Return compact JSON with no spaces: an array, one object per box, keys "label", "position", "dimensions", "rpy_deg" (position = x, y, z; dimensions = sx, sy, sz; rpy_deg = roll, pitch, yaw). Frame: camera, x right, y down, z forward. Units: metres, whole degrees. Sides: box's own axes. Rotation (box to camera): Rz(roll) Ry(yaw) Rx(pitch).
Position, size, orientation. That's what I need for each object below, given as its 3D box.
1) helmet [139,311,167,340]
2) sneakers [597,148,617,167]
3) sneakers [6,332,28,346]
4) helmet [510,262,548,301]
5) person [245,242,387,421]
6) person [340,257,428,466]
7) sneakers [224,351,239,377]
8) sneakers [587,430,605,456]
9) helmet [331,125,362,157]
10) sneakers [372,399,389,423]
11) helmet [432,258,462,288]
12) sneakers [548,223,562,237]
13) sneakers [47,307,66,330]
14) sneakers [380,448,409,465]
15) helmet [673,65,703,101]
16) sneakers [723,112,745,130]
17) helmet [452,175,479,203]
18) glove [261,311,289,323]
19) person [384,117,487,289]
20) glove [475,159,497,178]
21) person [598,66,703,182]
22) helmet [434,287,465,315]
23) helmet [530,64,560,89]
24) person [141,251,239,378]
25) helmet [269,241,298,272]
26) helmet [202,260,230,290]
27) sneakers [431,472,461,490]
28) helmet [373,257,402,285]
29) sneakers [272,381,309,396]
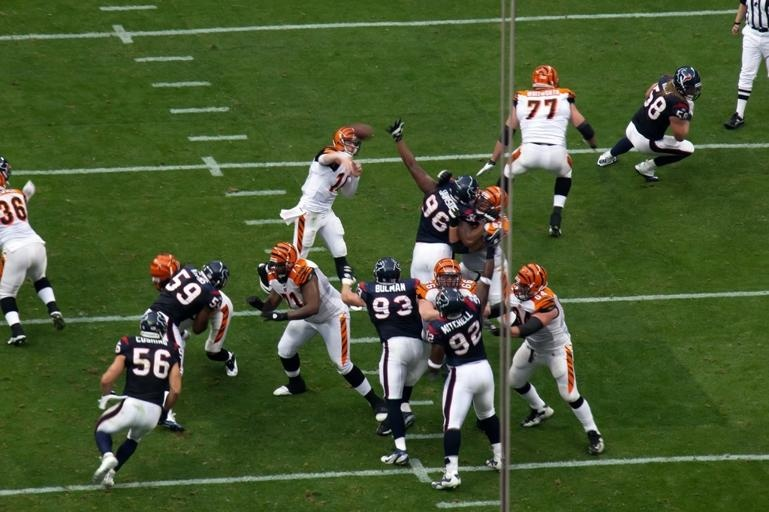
[{"label":"helmet","position":[-2.477,0.722,14.033],"dimensions":[0.275,0.249,0.308],"rpy_deg":[20,17,13]},{"label":"sneakers","position":[3.178,-1.399,18.669],"dimensions":[0.149,0.156,0.375],"rpy_deg":[32,22,30]},{"label":"sneakers","position":[-4.406,1.000,15.573],"dimensions":[0.109,0.115,0.275],"rpy_deg":[-5,5,-30]},{"label":"helmet","position":[1.604,0.247,14.386],"dimensions":[0.443,0.300,0.289],"rpy_deg":[-14,24,-16]},{"label":"person","position":[-0.814,0.974,15.240],"dimensions":[1.266,1.741,1.439],"rpy_deg":[-24,36,-26]},{"label":"person","position":[0.171,1.112,14.483],"dimensions":[0.881,1.952,1.328],"rpy_deg":[-10,28,0]},{"label":"sneakers","position":[-1.809,1.273,15.413],"dimensions":[0.138,0.299,0.145],"rpy_deg":[1,13,11]},{"label":"sneakers","position":[2.340,2.089,14.448],"dimensions":[0.180,0.122,0.363],"rpy_deg":[28,25,-14]},{"label":"helmet","position":[-0.452,-1.479,16.319],"dimensions":[0.450,0.339,0.315],"rpy_deg":[4,25,1]},{"label":"sneakers","position":[-0.050,1.750,14.812],"dimensions":[0.139,0.127,0.312],"rpy_deg":[-6,49,-6]},{"label":"helmet","position":[0.694,0.199,14.444],"dimensions":[0.287,0.251,0.345],"rpy_deg":[0,-4,-3]},{"label":"sneakers","position":[2.284,-0.347,17.390],"dimensions":[0.152,0.168,0.184],"rpy_deg":[8,-20,11]},{"label":"sneakers","position":[-3.950,0.757,15.706],"dimensions":[0.266,0.205,0.100],"rpy_deg":[41,39,-11]},{"label":"sneakers","position":[0.129,2.228,14.272],"dimensions":[0.383,0.173,0.129],"rpy_deg":[3,32,23]},{"label":"helmet","position":[4.106,-2.322,17.613],"dimensions":[0.349,0.498,0.323],"rpy_deg":[-4,28,10]},{"label":"sneakers","position":[5.183,-2.004,19.211],"dimensions":[0.162,0.174,0.409],"rpy_deg":[15,22,39]},{"label":"helmet","position":[0.961,-0.782,15.532],"dimensions":[0.384,0.259,0.316],"rpy_deg":[-14,-15,-9]},{"label":"glove","position":[-1.258,0.691,14.798],"dimensions":[0.120,0.096,0.406],"rpy_deg":[4,-1,-35]},{"label":"person","position":[0.642,-0.630,16.695],"dimensions":[1.380,2.514,0.944],"rpy_deg":[32,62,11]},{"label":"glove","position":[1.423,-1.238,18.193],"dimensions":[0.267,0.086,0.255],"rpy_deg":[-28,-12,25]},{"label":"person","position":[3.753,-1.861,18.236],"dimensions":[1.026,1.714,1.366],"rpy_deg":[-26,41,-36]},{"label":"helmet","position":[0.699,0.489,13.933],"dimensions":[0.273,0.222,0.309],"rpy_deg":[-3,26,-6]},{"label":"helmet","position":[2.166,-2.449,17.547],"dimensions":[0.408,0.369,0.521],"rpy_deg":[6,10,23]},{"label":"person","position":[-2.262,0.737,15.050],"dimensions":[1.254,1.241,0.609],"rpy_deg":[-17,59,-26]},{"label":"helmet","position":[-1.176,-0.026,14.734],"dimensions":[0.348,0.279,0.257],"rpy_deg":[24,34,-24]},{"label":"helmet","position":[-1.980,0.226,15.182],"dimensions":[0.263,0.283,0.230],"rpy_deg":[-48,44,-6]},{"label":"sneakers","position":[0.598,2.421,13.993],"dimensions":[0.402,0.162,0.137],"rpy_deg":[0,9,28]},{"label":"helmet","position":[0.029,0.150,14.604],"dimensions":[0.277,0.249,0.296],"rpy_deg":[2,36,-3]},{"label":"sneakers","position":[-1.113,1.569,15.253],"dimensions":[0.391,0.127,0.136],"rpy_deg":[2,1,-4]}]
